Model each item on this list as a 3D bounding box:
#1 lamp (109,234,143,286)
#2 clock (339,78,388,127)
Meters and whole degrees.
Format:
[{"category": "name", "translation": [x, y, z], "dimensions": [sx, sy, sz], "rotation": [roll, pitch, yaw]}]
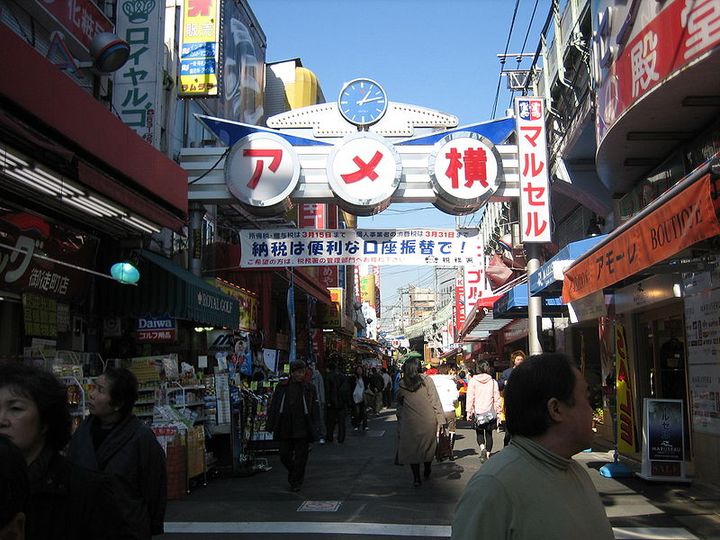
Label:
[{"category": "lamp", "translation": [-4.297, -0.201, 13.160], "dimensions": [0.451, 1.132, 0.626], "rotation": [-5, -45, -1]}, {"category": "clock", "translation": [0.062, -3.643, 15.596], "dimensions": [0.928, 1.114, 1.030], "rotation": [-2, -16, -4]}]
